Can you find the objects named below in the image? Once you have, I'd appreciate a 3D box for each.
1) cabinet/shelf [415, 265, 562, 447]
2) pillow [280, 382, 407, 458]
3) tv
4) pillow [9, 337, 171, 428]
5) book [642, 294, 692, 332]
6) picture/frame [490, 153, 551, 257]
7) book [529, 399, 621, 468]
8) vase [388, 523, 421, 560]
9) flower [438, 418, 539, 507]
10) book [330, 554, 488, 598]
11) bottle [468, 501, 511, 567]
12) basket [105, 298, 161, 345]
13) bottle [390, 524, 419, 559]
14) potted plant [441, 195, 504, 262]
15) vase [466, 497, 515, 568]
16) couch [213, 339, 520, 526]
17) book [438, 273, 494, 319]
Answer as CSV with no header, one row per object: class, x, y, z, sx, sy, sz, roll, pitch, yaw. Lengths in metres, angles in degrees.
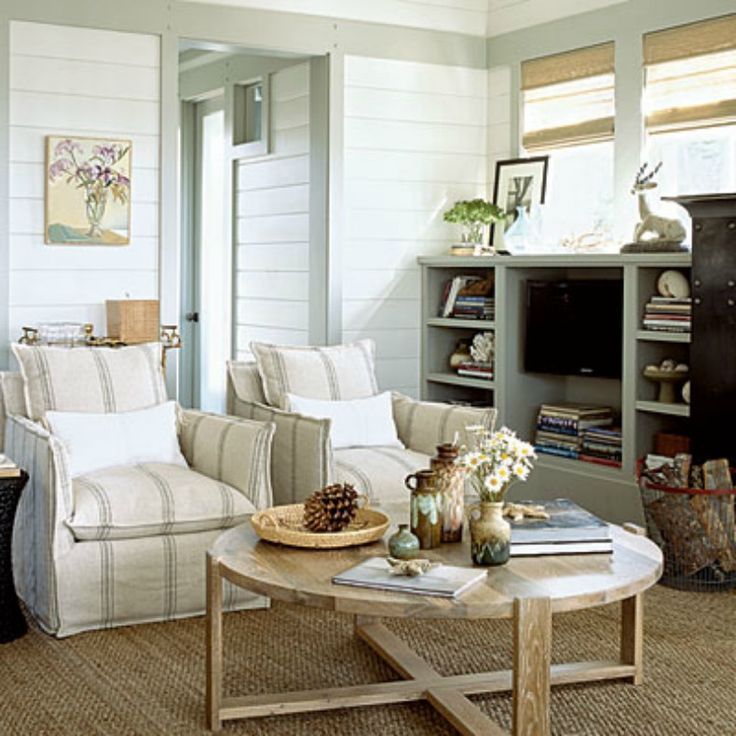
cabinet/shelf,0.714,-0.277,4.510,0.574,1.006,0.334,9,1,13
pillow,-0.061,0.233,2.943,0.406,0.277,0.117,-2,-19,-30
tv,1.231,-0.244,3.865,0.064,0.517,0.604,0,3,-37
pillow,-1.138,0.065,2.671,0.421,0.263,0.101,4,-37,-39
book,1.484,-0.264,3.253,0.166,0.139,0.222,-3,6,-32
picture/frame,1.049,-1.140,4.600,0.022,0.624,0.442,-4,11,-40
book,1.304,0.380,3.905,0.292,0.301,0.604,-4,4,-38
vase,0.085,0.390,1.491,0.070,0.066,0.069,1,3,6
flower,0.273,0.238,1.479,0.176,0.134,0.172,-7,16,-6
book,0.087,0.402,1.312,0.274,0.045,0.229,0,3,25
bottle,0.271,0.352,1.453,0.086,0.139,0.143,-1,3,12
basket,-1.361,-0.281,3.844,0.277,0.259,0.269,-2,6,-36
bottle,0.080,0.385,1.481,0.067,0.063,0.066,2,2,4
potted plant,0.765,-0.976,4.593,0.344,0.354,0.380,13,2,31
vase,0.251,0.362,1.439,0.099,0.150,0.101,15,-18,-42
couch,-0.066,0.356,2.903,0.980,0.850,0.962,10,11,36
book,0.678,-0.476,4.401,0.333,0.308,0.078,1,-6,25
